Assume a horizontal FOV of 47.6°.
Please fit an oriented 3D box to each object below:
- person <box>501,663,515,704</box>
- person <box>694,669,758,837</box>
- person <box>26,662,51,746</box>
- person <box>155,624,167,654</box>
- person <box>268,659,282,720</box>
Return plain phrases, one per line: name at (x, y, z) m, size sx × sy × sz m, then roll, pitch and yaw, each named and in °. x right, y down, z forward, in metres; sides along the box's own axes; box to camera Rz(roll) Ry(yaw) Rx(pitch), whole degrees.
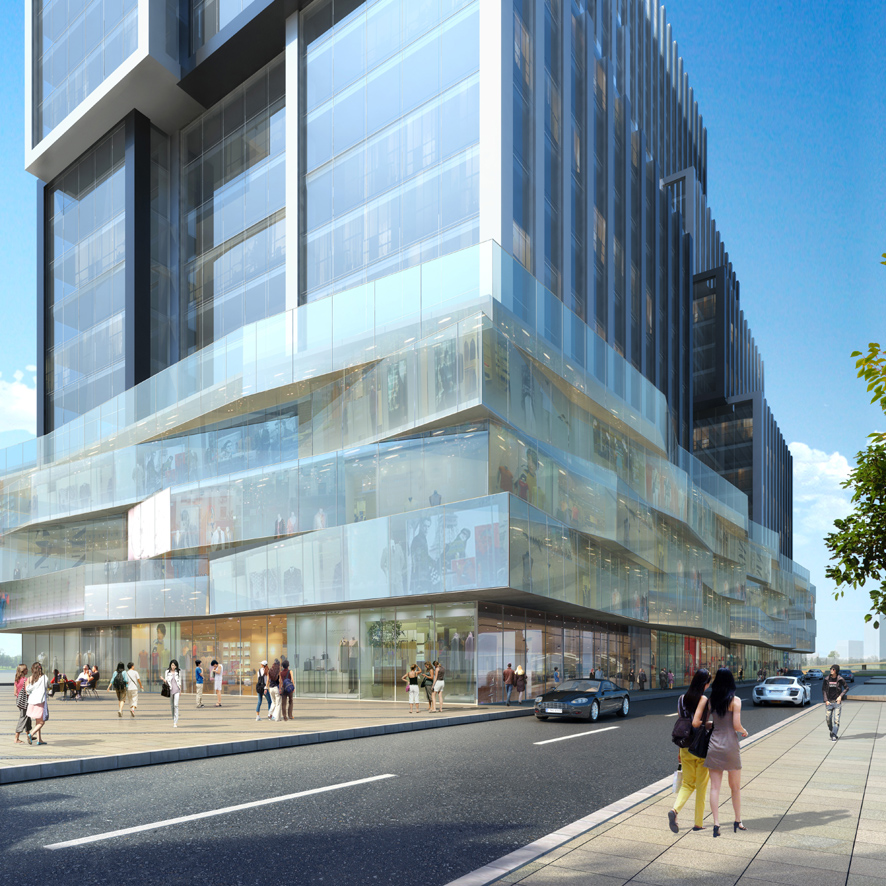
person at (2.200, 8.054, 33.650) m, size 0.290 × 1.364 × 0.772 m, roll -4°, pitch -13°, yaw 19°
person at (3.191, 3.450, 11.492) m, size 0.513 × 1.818 × 2.488 m, roll -3°, pitch -15°, yaw 16°
person at (-7.667, 4.928, 18.900) m, size 0.411 × 1.485 × 2.369 m, roll 5°, pitch -16°, yaw -22°
person at (-11.698, 8.165, 41.541) m, size 0.268 × 1.228 × 0.754 m, roll 11°, pitch -17°, yaw -43°
person at (-4.124, 6.007, 24.361) m, size 0.341 × 1.460 × 0.762 m, roll 2°, pitch -13°, yaw -11°
